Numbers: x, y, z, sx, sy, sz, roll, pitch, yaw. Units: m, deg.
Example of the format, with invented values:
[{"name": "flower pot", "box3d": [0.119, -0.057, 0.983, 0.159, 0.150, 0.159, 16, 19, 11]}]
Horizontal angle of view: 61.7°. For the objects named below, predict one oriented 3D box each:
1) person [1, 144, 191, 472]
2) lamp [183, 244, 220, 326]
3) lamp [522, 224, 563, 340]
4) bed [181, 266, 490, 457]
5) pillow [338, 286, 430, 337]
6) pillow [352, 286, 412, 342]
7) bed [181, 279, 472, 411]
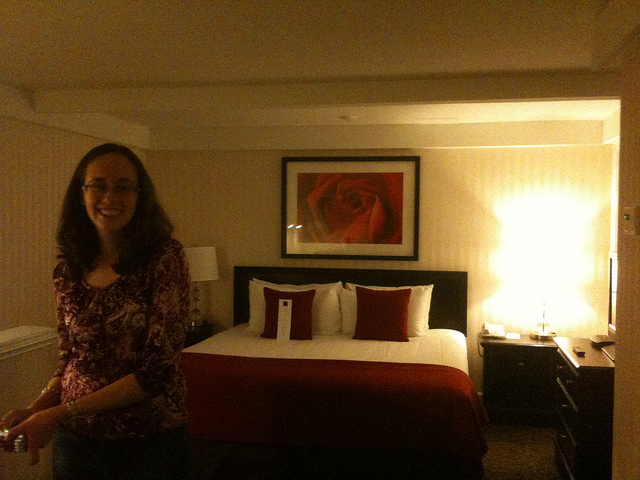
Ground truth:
[{"name": "person", "box3d": [-0.833, 0.251, 2.058, 0.680, 1.237, 0.401, 0, 3, -2]}, {"name": "lamp", "box3d": [-1.221, 0.452, 5.300, 0.418, 0.780, 0.422, 2, 0, 1]}, {"name": "lamp", "box3d": [2.026, 0.378, 4.935, 0.299, 1.030, 0.315, 5, 5, 3]}, {"name": "bed", "box3d": [0.167, 0.903, 4.849, 2.929, 1.256, 3.011, 1, 1, 11]}, {"name": "pillow", "box3d": [0.652, 0.677, 4.975, 0.780, 0.502, 0.257, -4, -10, 31]}, {"name": "pillow", "box3d": [0.555, 0.653, 4.727, 0.507, 0.495, 0.196, 2, -9, 12]}, {"name": "bed", "box3d": [0.108, 0.755, 4.311, 2.127, 0.604, 1.757, 1, 3, 11]}]
